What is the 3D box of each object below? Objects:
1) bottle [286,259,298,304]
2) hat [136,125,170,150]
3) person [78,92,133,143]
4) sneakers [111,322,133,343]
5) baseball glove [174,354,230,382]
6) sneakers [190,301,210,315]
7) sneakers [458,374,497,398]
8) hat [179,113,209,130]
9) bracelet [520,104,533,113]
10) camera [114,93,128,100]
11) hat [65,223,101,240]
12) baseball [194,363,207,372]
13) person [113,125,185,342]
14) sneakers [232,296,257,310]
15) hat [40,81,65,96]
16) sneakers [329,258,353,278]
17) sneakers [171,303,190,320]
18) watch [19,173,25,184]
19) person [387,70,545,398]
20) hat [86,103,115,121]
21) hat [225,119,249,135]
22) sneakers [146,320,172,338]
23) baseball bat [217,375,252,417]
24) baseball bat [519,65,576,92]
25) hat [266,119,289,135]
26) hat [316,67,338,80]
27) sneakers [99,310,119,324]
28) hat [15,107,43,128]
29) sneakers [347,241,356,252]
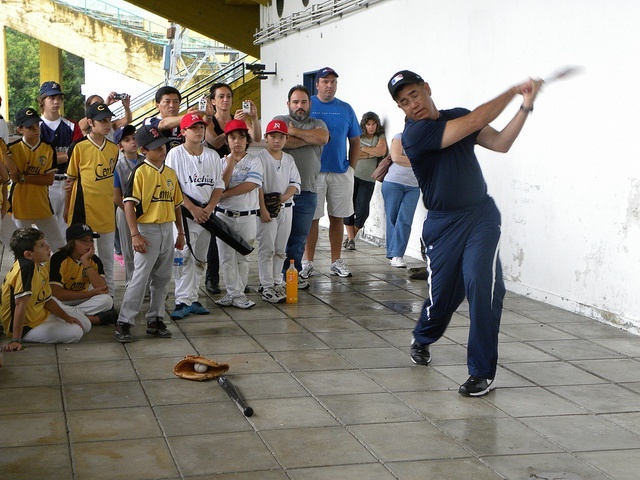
[{"bbox_3d":[-0.320,0.452,6.430,0.134,0.512,0.247,1,11,-4],"label":"bottle"},{"bbox_3d":[-1.529,-0.927,5.114,0.277,0.148,0.187,7,32,34],"label":"hat"},{"bbox_3d":[-2.717,-1.615,7.326,1.050,0.528,0.689,7,7,42],"label":"person"},{"bbox_3d":[-1.787,0.820,5.125,0.143,0.166,0.149,-3,11,-21],"label":"sneakers"},{"bbox_3d":[-0.927,0.976,4.389,0.322,0.192,0.111,-11,5,-7],"label":"baseball glove"},{"bbox_3d":[-1.286,0.718,5.997,0.256,0.103,0.086,2,6,-2],"label":"sneakers"},{"bbox_3d":[1.157,1.069,4.198,0.292,0.124,0.111,-1,4,-27],"label":"sneakers"},{"bbox_3d":[-1.286,-1.193,5.700,0.214,0.164,0.312,-2,11,-19],"label":"hat"},{"bbox_3d":[1.401,-0.876,3.806,0.062,0.044,0.061,2,8,3],"label":"bracelet"},{"bbox_3d":[-2.418,-1.742,6.890,0.127,0.070,0.220,-6,13,-35],"label":"camera"},{"bbox_3d":[-2.288,-0.076,5.405,0.226,0.106,0.163,-6,5,9],"label":"hat"},{"bbox_3d":[-0.922,0.966,4.347,0.078,0.059,0.060,3,-2,-27],"label":"baseball"},{"bbox_3d":[-1.569,-0.067,5.163,0.662,1.907,0.406,-3,12,-23],"label":"person"},{"bbox_3d":[-0.840,0.683,6.252,0.246,0.100,0.105,2,4,20],"label":"sneakers"},{"bbox_3d":[-3.129,-1.769,6.594,0.216,0.143,0.319,-3,10,-35],"label":"hat"},{"bbox_3d":[0.289,0.389,7.799,0.151,0.173,0.375,-4,6,-31],"label":"sneakers"},{"bbox_3d":[-1.452,0.733,5.895,0.093,0.109,0.251,0,-1,15],"label":"sneakers"},{"bbox_3d":[-3.308,-0.675,6.267,0.037,0.035,0.086,-7,30,-14],"label":"watch"},{"bbox_3d":[1.020,-0.059,4.255,0.986,2.316,0.595,5,11,18],"label":"person"},{"bbox_3d":[-2.289,-1.320,5.874,0.255,0.127,0.179,3,12,33],"label":"hat"},{"bbox_3d":[-0.904,-1.209,6.090,0.262,0.106,0.361,-2,5,-6],"label":"hat"},{"bbox_3d":[-1.516,0.827,5.267,0.293,0.126,0.112,0,-2,27],"label":"sneakers"},{"bbox_3d":[-0.611,1.083,4.014,0.106,0.137,0.558,1,14,-23],"label":"baseball bat"},{"bbox_3d":[1.609,-1.105,3.840,0.469,0.171,0.188,-4,12,-27],"label":"baseball bat"},{"bbox_3d":[-0.493,-1.270,6.368,0.244,0.160,0.269,1,10,-1],"label":"hat"},{"bbox_3d":[0.076,-2.165,7.370,0.202,0.154,0.304,-3,11,-21],"label":"hat"},{"bbox_3d":[-2.091,0.750,5.588,0.166,0.142,0.126,9,-11,-39],"label":"sneakers"},{"bbox_3d":[-3.107,-1.289,6.010,0.257,0.143,0.181,-1,17,42],"label":"hat"},{"bbox_3d":[0.521,0.105,9.608,0.158,0.190,0.463,0,-3,9],"label":"sneakers"}]
